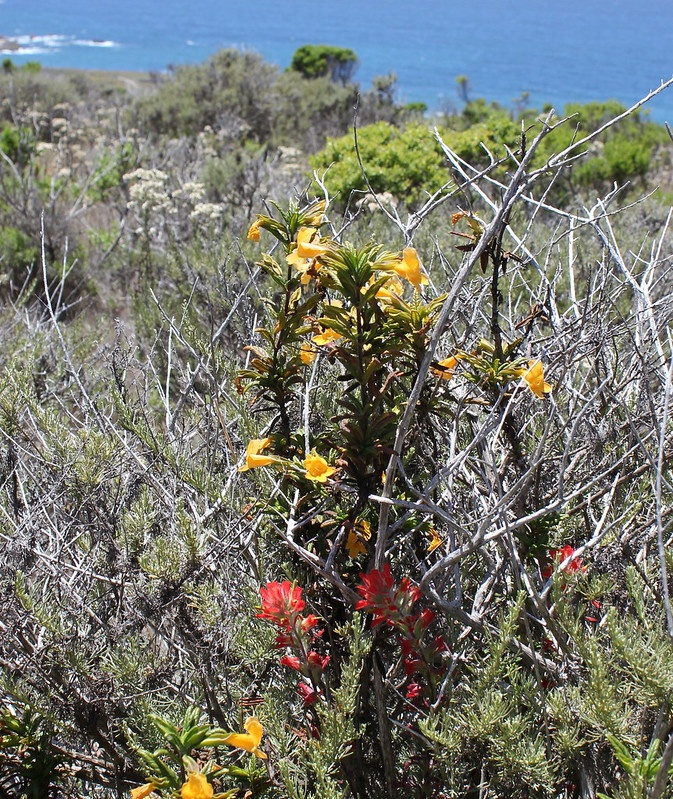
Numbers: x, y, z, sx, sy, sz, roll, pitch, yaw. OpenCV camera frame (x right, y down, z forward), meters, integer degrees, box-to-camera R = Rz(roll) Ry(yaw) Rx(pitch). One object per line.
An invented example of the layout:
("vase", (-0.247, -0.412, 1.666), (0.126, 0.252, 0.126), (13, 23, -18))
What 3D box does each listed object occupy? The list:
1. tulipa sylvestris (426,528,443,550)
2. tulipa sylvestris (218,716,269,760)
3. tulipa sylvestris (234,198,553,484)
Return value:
("tulipa sylvestris", (0.233, 0.326, 2.682), (0.029, 0.021, 0.081), (-4, -16, -8))
("tulipa sylvestris", (-0.183, 0.712, 2.432), (0.050, 0.080, 0.105), (-19, -29, 29))
("tulipa sylvestris", (0.092, -0.091, 2.689), (0.637, 0.668, 0.738), (-2, 25, -6))
